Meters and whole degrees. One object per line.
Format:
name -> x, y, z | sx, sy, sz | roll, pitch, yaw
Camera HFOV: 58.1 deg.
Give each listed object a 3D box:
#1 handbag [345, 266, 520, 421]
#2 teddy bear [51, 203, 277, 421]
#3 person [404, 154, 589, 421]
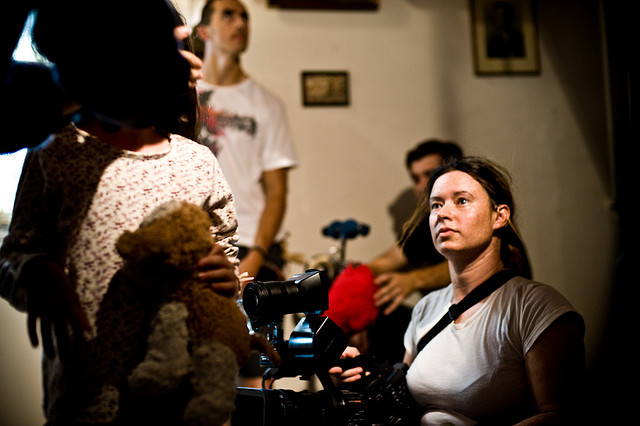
handbag -> 0.414, 0.553, 2.440 | 0.781, 0.668, 0.349 | 0, 10, -35
teddy bear -> -0.482, 0.307, 1.677 | 0.556, 0.680, 0.222 | 8, 9, 22
person -> 0.820, 0.317, 2.629 | 0.529, 1.152, 0.813 | 16, -30, -13
